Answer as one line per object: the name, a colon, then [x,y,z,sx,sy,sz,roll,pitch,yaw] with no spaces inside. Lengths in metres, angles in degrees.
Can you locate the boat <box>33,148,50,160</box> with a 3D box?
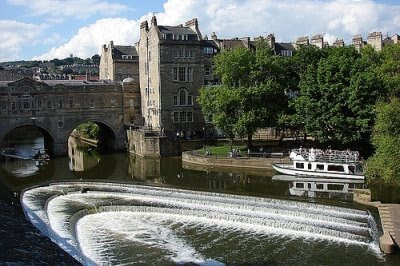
boat: [-27.403,3.720,78.898,1.957,2.078,2.900,-2,6,-22]

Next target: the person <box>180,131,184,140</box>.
person: [-3.375,0.324,85.565,0.309,1.466,1.033,3,10,29]
